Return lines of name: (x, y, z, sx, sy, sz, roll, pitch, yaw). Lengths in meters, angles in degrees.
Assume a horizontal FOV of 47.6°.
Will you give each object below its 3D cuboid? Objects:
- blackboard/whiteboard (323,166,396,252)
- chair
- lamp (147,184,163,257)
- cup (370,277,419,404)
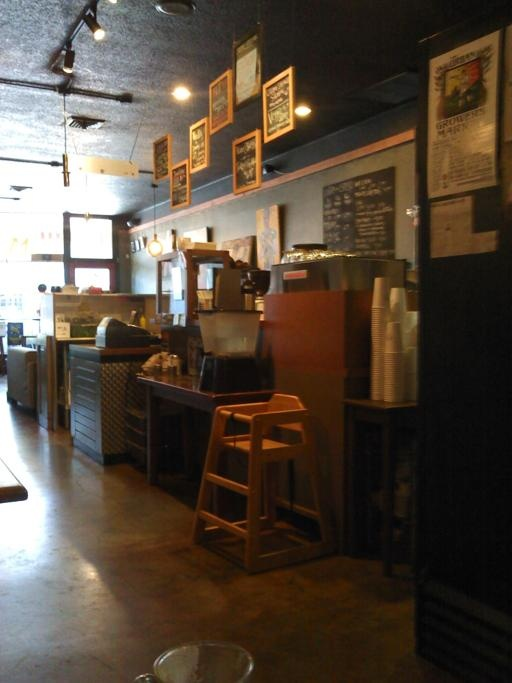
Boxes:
blackboard/whiteboard: (1.020, -1.279, 5.999, 0.877, 0.848, 0.062, 2, 4, 44)
chair: (0.022, 0.695, 3.110, 0.721, 1.007, 0.685, 4, -6, -34)
lamp: (-1.488, -1.781, 8.603, 0.235, 1.038, 0.242, 5, 16, 10)
cup: (0.640, -0.017, 2.743, 0.205, 0.573, 0.389, 0, 1, 11)
